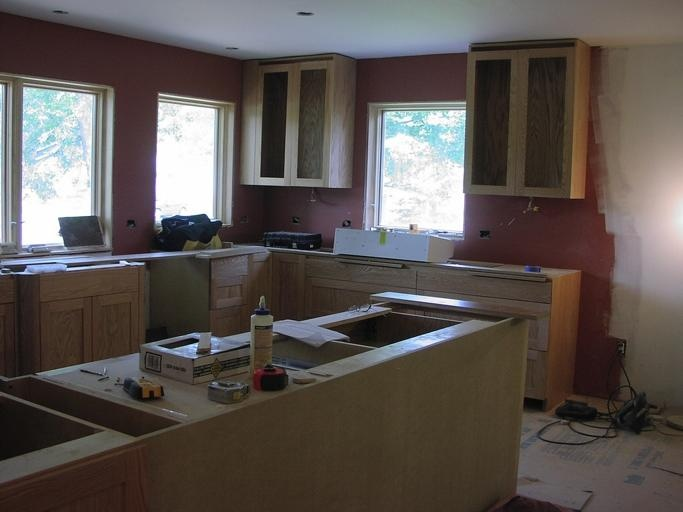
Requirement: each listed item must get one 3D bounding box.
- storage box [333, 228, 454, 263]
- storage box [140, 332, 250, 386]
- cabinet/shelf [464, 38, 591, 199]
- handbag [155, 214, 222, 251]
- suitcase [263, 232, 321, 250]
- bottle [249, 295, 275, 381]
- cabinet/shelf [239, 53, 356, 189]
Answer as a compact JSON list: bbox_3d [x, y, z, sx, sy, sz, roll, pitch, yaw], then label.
[{"bbox_3d":[0.464,-0.153,5.093,0.996,0.305,0.533,7,8,33],"label":"storage box"},{"bbox_3d":[-0.551,0.350,2.086,0.272,0.141,0.334,17,9,28],"label":"storage box"},{"bbox_3d":[1.653,-1.225,4.865,0.987,1.295,0.483,10,18,40],"label":"cabinet/shelf"},{"bbox_3d":[-1.534,-0.243,5.481,0.372,0.342,0.582,7,9,34],"label":"handbag"},{"bbox_3d":[-0.516,-0.166,5.767,0.613,0.163,0.393,2,8,-5],"label":"suitcase"},{"bbox_3d":[-0.284,0.299,2.045,0.099,0.269,0.099,2,2,0],"label":"bottle"},{"bbox_3d":[-0.485,-1.434,5.941,1.174,1.316,0.439,6,7,31],"label":"cabinet/shelf"}]
